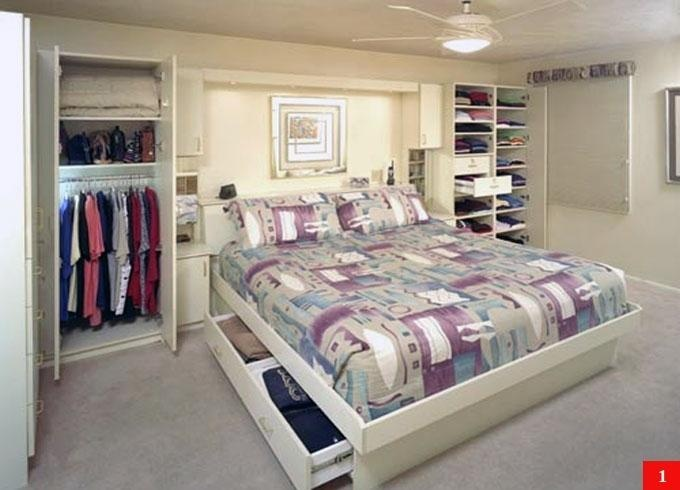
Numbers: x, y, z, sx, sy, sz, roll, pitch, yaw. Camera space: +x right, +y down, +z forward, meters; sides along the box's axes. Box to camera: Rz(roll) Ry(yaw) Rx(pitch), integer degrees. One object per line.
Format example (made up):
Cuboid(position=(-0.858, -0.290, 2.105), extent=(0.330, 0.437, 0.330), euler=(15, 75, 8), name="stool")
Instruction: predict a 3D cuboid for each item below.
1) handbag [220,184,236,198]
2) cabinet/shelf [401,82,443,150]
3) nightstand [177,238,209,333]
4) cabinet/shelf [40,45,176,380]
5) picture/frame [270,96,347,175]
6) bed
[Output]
Cuboid(position=(-1.140, -0.453, 4.834), extent=(0.169, 0.148, 0.131), euler=(-13, 25, -36), name="handbag")
Cuboid(position=(1.014, -1.406, 5.632), extent=(0.521, 0.706, 0.245), euler=(-2, 12, 8), name="cabinet/shelf")
Cuboid(position=(-1.408, 0.431, 4.489), extent=(0.369, 0.719, 0.307), euler=(-8, 12, -18), name="nightstand")
Cuboid(position=(-2.003, -0.257, 4.020), extent=(1.295, 2.384, 0.971), euler=(-11, 14, -31), name="cabinet/shelf")
Cuboid(position=(-0.379, -1.119, 5.187), extent=(0.906, 0.762, 0.071), euler=(-4, 10, -27), name="picture/frame")
Cuboid(position=(0.190, 0.402, 3.694), extent=(2.479, 1.038, 2.496), euler=(-10, 18, -32), name="bed")
